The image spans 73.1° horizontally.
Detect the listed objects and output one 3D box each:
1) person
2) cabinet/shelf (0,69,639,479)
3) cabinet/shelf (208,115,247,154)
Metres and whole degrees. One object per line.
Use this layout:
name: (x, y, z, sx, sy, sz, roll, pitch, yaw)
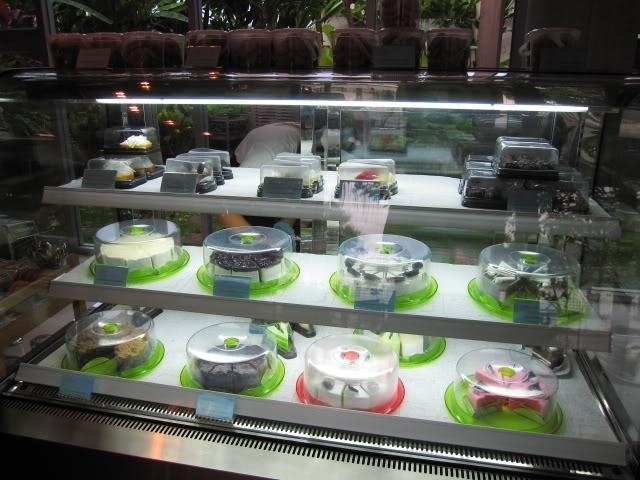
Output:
person: (-0.161, -0.201, 1.687, 0.428, 0.649, 0.356, 7, 35, 13)
cabinet/shelf: (-0.015, 0.085, 1.556, 2.253, 1.279, 0.717, 4, 23, 10)
cabinet/shelf: (-0.371, -0.438, 1.817, 0.122, 0.161, 0.119, 17, 26, 29)
